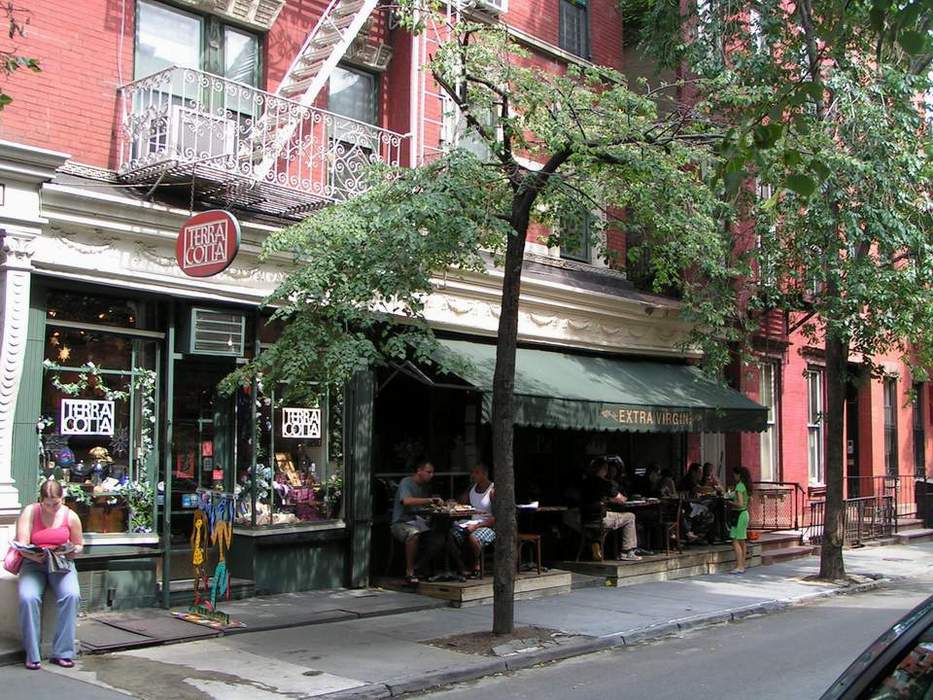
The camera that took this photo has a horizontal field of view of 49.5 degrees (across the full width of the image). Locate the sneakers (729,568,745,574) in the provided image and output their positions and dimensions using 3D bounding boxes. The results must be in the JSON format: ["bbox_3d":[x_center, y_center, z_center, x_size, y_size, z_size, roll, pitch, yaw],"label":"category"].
[{"bbox_3d":[5.289,4.369,19.915,0.269,0.122,0.111,0,-11,-2],"label":"sneakers"}]

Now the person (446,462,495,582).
[{"bbox_3d":[0.071,2.777,16.375,0.694,1.838,0.870,-1,-7,-1],"label":"person"}]

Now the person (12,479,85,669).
[{"bbox_3d":[-4.978,2.657,12.018,0.756,2.173,0.462,2,-8,-26],"label":"person"}]

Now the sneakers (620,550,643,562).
[{"bbox_3d":[2.980,3.777,18.413,0.323,0.143,0.147,0,-4,-2],"label":"sneakers"}]

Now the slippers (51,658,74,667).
[{"bbox_3d":[-4.752,3.672,11.920,0.286,0.111,0.101,-3,-7,27],"label":"slippers"}]

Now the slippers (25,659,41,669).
[{"bbox_3d":[-4.998,3.661,11.697,0.148,0.077,0.148,3,-9,-27],"label":"slippers"}]

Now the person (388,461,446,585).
[{"bbox_3d":[-0.823,2.793,16.257,0.859,1.960,0.763,-3,-7,16],"label":"person"}]

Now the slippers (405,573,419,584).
[{"bbox_3d":[-0.864,3.675,16.225,0.209,0.206,0.225,1,-8,-20],"label":"slippers"}]
